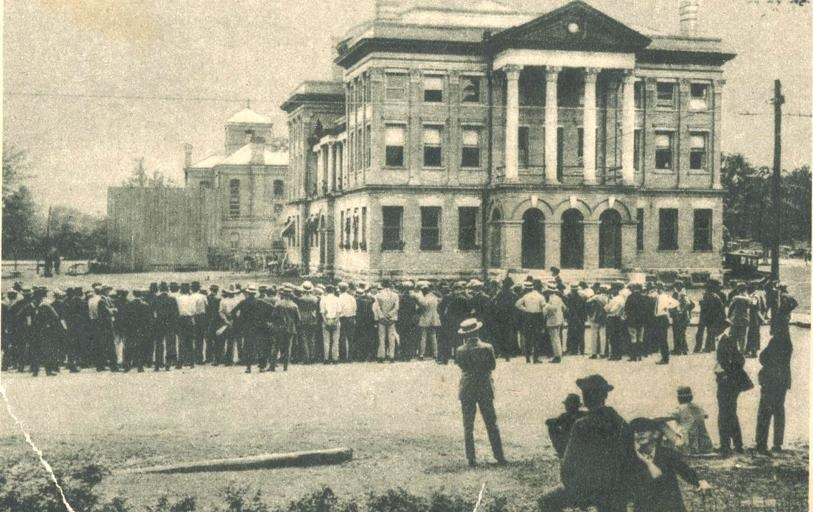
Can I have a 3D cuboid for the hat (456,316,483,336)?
[{"bbox_3d":[2.323,2.448,49.820,0.775,0.196,0.689,-23,21,-15],"label":"hat"}]
